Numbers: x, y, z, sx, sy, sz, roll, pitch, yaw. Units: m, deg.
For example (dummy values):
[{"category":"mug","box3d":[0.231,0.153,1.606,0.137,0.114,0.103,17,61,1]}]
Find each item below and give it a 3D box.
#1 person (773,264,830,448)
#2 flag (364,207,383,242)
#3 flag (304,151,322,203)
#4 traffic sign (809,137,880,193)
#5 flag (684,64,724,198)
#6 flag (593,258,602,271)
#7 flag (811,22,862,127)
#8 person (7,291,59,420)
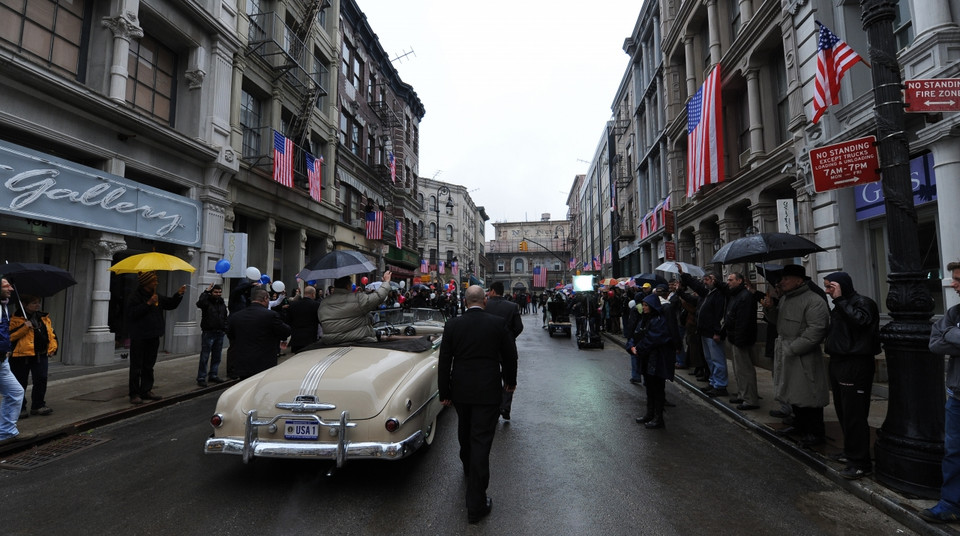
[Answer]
[{"category":"person","box3d":[7.456,2.010,15.890,1.305,4.092,1.182,0,-1,-4]},{"category":"flag","box3d":[-5.821,-2.363,37.050,0.862,1.594,0.867,1,-4,4]},{"category":"flag","box3d":[-7.327,-3.993,29.487,0.468,1.939,0.878,0,-4,14]},{"category":"traffic sign","box3d":[8.231,-2.348,15.320,1.334,1.140,0.531,-1,-5,25]},{"category":"flag","box3d":[8.526,-5.395,25.754,0.792,4.592,2.000,2,-4,-8]},{"category":"flag","box3d":[9.241,-0.212,53.684,0.488,0.994,1.039,-2,1,10]},{"category":"flag","box3d":[10.106,-5.644,19.346,1.053,3.129,1.141,-1,0,40]},{"category":"person","box3d":[-11.085,2.115,16.584,0.974,3.030,1.142,-2,-2,6]}]
